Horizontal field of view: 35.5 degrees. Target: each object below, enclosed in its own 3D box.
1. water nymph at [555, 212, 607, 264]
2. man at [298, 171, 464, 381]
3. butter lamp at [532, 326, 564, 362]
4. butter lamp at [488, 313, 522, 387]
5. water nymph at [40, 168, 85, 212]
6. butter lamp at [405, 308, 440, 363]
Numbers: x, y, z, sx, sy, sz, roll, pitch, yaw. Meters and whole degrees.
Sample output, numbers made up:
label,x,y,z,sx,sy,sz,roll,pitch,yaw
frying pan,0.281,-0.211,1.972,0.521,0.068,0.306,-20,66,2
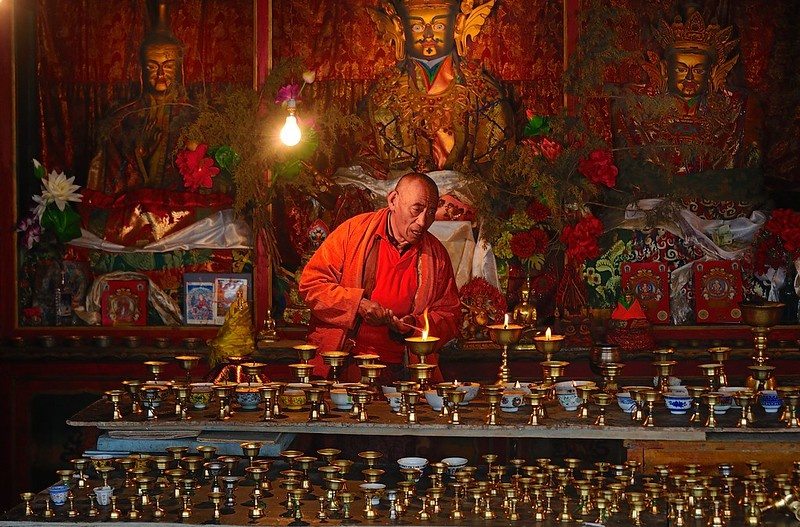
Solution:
label,x,y,z,sx,sy,sz,roll,pitch,yaw
water nymph,1.573,-0.211,10.720,0.446,0.432,0.283,-43,-6,7
man,-0.218,0.070,11.468,1.510,1.736,1.068,-3,10,-7
butter lamp,1.128,0.648,9.654,0.261,0.251,0.235,-6,7,-29
butter lamp,0.822,0.679,9.672,0.373,0.463,0.324,-6,-11,35
water nymph,-3.146,-0.667,11.468,0.457,0.311,0.166,-20,-8,-2
butter lamp,0.141,0.586,9.524,0.321,0.380,0.273,8,3,-2
